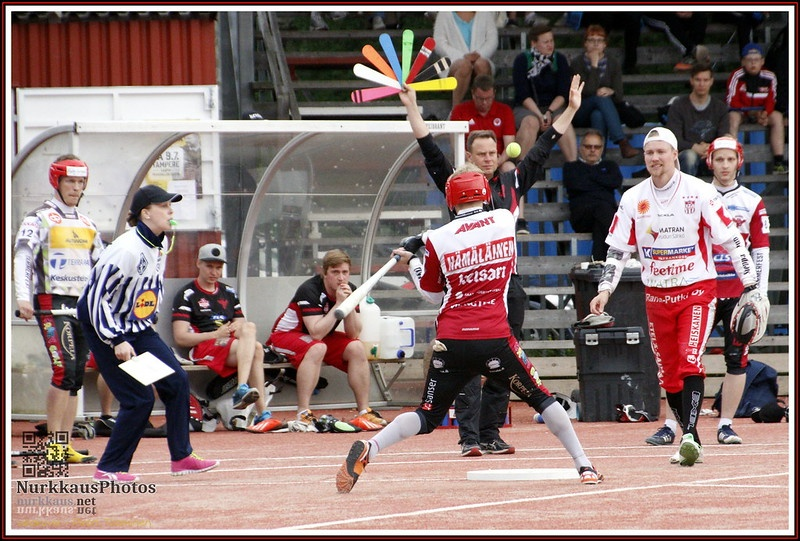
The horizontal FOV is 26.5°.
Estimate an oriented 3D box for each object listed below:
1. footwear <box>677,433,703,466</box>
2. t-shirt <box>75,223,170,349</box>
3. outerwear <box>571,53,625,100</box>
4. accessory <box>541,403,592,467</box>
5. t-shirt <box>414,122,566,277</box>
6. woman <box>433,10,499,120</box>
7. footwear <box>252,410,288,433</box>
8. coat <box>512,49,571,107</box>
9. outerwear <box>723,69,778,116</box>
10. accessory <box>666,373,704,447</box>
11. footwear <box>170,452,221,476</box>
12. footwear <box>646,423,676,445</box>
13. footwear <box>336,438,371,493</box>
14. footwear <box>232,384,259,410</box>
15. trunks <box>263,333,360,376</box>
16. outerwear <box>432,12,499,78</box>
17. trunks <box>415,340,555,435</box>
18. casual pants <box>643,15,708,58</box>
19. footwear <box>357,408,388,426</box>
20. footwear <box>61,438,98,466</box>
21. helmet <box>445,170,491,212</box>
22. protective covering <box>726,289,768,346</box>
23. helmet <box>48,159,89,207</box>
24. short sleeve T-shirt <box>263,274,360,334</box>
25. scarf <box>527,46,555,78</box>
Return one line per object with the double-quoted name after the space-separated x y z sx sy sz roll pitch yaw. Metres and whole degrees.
3.000 1.857 17.400 0.171 0.183 0.388 2 -38 14 "footwear"
-2.835 0.050 17.512 0.754 1.184 1.229 17 9 15 "t-shirt"
2.789 -2.749 23.893 0.790 0.721 0.454 6 10 2 "outerwear"
1.678 1.626 16.833 0.468 0.690 0.276 -2 4 4 "accessory"
0.989 -0.831 19.190 2.097 2.150 0.524 -4 -3 -14 "t-shirt"
1.008 -3.145 24.122 0.861 2.202 1.215 -3 5 -8 "woman"
-1.545 1.770 19.798 0.524 0.224 0.187 3 -3 -5 "footwear"
1.986 -2.687 23.700 0.866 0.813 0.483 2 10 -12 "coat"
5.034 -2.544 23.985 0.718 0.665 0.406 5 28 7 "outerwear"
3.047 1.388 17.775 0.298 0.884 0.862 -8 3 6 "accessory"
-2.145 2.016 17.643 0.571 0.247 0.191 -1 3 -11 "footwear"
2.850 1.816 18.524 0.417 0.183 0.138 8 -9 -41 "footwear"
-0.448 1.929 16.726 0.353 0.518 0.213 -3 4 -3 "footwear"
-1.799 1.455 19.622 0.176 0.202 0.425 5 -29 -46 "footwear"
-1.072 0.883 20.380 1.167 0.402 0.669 7 1 -12 "trunks"
0.970 -3.360 24.231 0.881 0.544 1.459 -1 31 -1 "outerwear"
0.856 1.261 17.843 1.262 0.663 0.359 -1 1 11 "trunks"
4.152 -3.522 25.230 0.889 0.713 0.384 -1 4 20 "casual pants"
-0.318 1.701 19.852 0.420 0.174 0.141 12 5 17 "footwear"
-3.475 1.986 18.265 0.421 0.282 0.144 0 -1 -15 "footwear"
0.698 -0.809 16.965 0.356 0.393 0.437 -3 13 -5 "helmet"
3.690 0.501 17.732 0.393 0.554 0.283 16 9 12 "protective covering"
-3.628 -1.006 18.559 0.422 0.499 0.528 -1 2 -33 "helmet"
-1.026 0.554 20.488 0.791 1.111 0.896 13 8 41 "short sleeve T-shirt"
1.929 -2.909 23.445 0.322 0.413 0.193 4 -1 14 "scarf"
